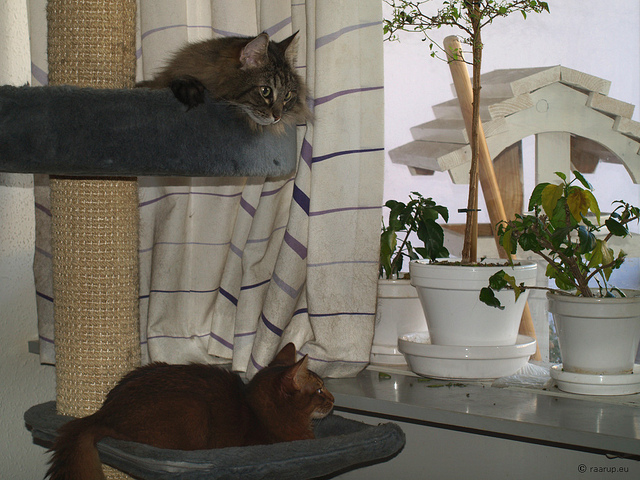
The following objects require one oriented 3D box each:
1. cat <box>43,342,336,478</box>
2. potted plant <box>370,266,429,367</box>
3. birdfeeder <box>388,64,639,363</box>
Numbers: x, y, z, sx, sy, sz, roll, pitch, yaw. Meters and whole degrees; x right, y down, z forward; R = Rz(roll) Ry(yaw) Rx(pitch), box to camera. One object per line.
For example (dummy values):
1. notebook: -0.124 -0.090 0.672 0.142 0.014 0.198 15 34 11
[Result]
1. cat: -0.282 0.308 1.451 0.528 0.259 0.317 1 -4 -17
2. potted plant: 0.231 0.222 2.021 0.243 0.280 0.249 1 2 19
3. birdfeeder: 0.556 -0.063 1.820 0.724 0.911 0.488 -6 8 -5
